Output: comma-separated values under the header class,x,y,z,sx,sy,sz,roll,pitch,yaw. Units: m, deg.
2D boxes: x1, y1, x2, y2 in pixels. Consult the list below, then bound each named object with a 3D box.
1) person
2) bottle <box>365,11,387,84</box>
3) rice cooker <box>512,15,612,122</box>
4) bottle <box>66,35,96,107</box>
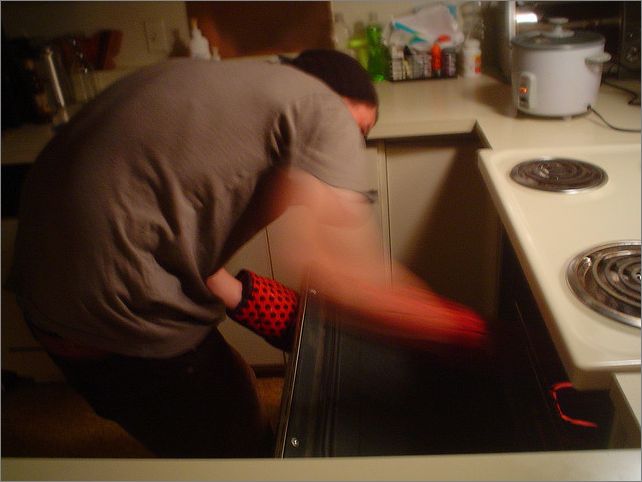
class,x,y,z,sx,sy,sz,roll,pitch,yaw
person,-0.224,0.034,0.942,0.574,0.795,0.560,-3,23,-24
bottle,0.181,-0.665,1.799,0.062,0.221,0.067,-4,17,1
rice cooker,0.570,-0.418,1.270,0.213,0.235,0.150,7,28,20
bottle,-0.793,-0.559,1.757,0.067,0.246,0.069,-2,35,1
